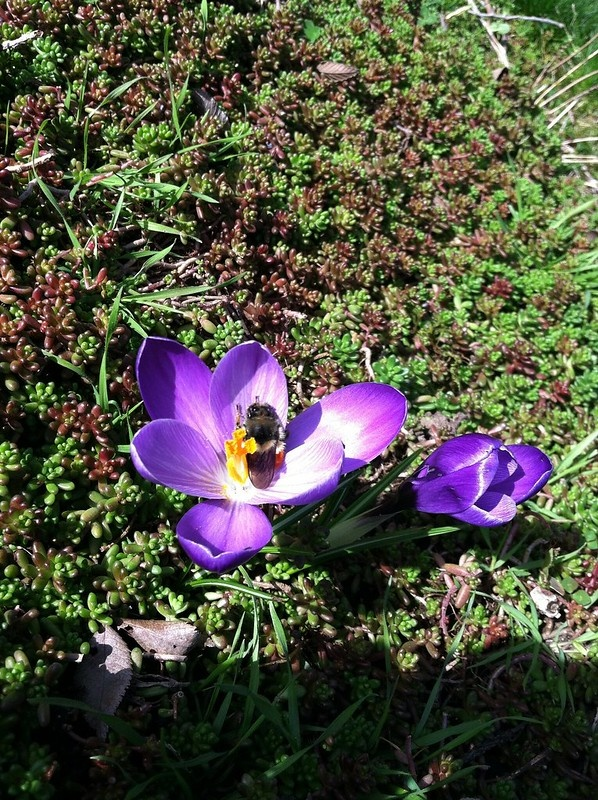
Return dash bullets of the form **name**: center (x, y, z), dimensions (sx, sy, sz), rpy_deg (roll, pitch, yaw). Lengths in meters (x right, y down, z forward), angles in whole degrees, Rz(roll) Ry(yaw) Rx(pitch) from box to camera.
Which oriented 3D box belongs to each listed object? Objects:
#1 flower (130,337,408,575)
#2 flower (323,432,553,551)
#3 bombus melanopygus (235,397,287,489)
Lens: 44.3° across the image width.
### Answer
- **flower**: center (-0.231, 0.126, 2.361), dimensions (0.793, 0.379, 0.705), rpy_deg (40, 52, 12)
- **flower**: center (0.575, 0.370, 2.738), dimensions (0.303, 0.884, 0.380), rpy_deg (59, 32, -24)
- **bombus melanopygus**: center (-0.110, 0.135, 2.359), dimensions (0.209, 0.293, 0.090), rpy_deg (6, 52, 19)
